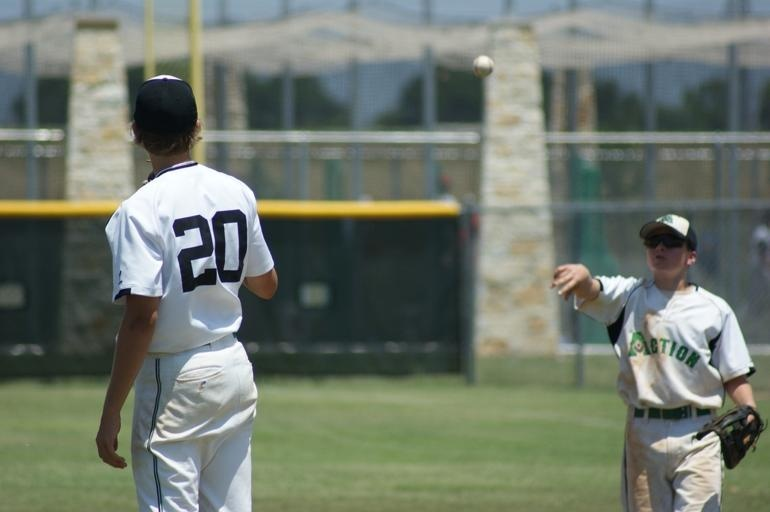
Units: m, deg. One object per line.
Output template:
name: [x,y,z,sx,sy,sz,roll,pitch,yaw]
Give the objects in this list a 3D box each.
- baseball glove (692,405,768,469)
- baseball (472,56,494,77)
baseball glove: [2.634,1.346,15.443,0.546,0.392,0.201,-43,10,-2]
baseball: [0.772,-1.503,16.166,0.168,0.160,0.161,-3,32,0]
